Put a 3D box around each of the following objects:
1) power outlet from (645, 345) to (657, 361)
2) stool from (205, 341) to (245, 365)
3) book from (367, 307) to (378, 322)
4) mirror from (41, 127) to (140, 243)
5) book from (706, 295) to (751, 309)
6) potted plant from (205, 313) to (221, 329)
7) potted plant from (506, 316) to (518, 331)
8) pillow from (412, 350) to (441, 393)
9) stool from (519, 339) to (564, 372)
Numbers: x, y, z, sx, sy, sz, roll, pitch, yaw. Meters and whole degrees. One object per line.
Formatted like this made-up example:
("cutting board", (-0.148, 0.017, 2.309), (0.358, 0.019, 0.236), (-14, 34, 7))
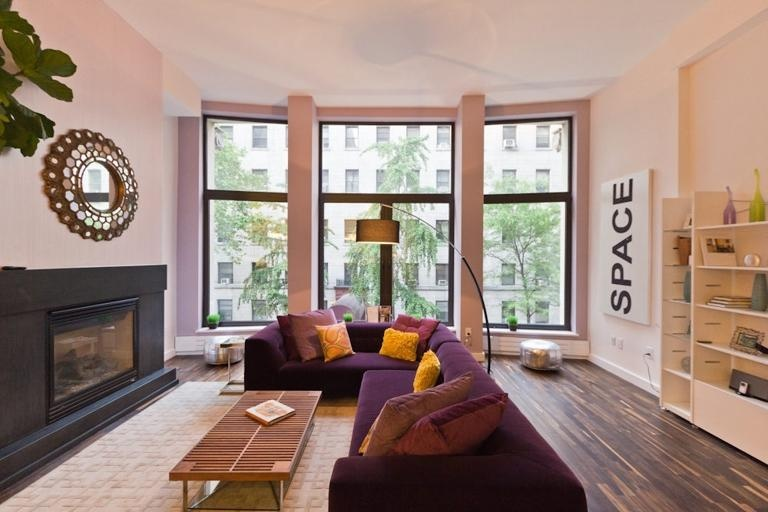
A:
("power outlet", (3.452, 1.248, 6.778), (0.035, 0.177, 0.177), (-3, 1, -17))
("stool", (-2.323, 1.302, 7.500), (0.503, 0.301, 0.502), (1, -3, 3))
("book", (-0.161, 0.906, 8.071), (0.197, 0.278, 0.197), (-1, 0, -3))
("mirror", (-3.402, -0.808, 5.987), (0.082, 1.186, 1.204), (-6, 12, 19))
("book", (3.860, 0.516, 5.844), (0.411, 0.123, 0.208), (-2, 1, 33))
("potted plant", (-2.634, 1.010, 8.155), (0.224, 0.220, 0.204), (4, -12, -8))
("potted plant", (1.980, 1.052, 8.098), (0.214, 0.247, 0.203), (0, -5, 1))
("pillow", (0.462, 1.226, 5.502), (0.231, 0.298, 0.430), (6, -3, 14))
("stool", (2.235, 1.395, 7.444), (0.447, 0.308, 0.438), (1, -5, 1))
